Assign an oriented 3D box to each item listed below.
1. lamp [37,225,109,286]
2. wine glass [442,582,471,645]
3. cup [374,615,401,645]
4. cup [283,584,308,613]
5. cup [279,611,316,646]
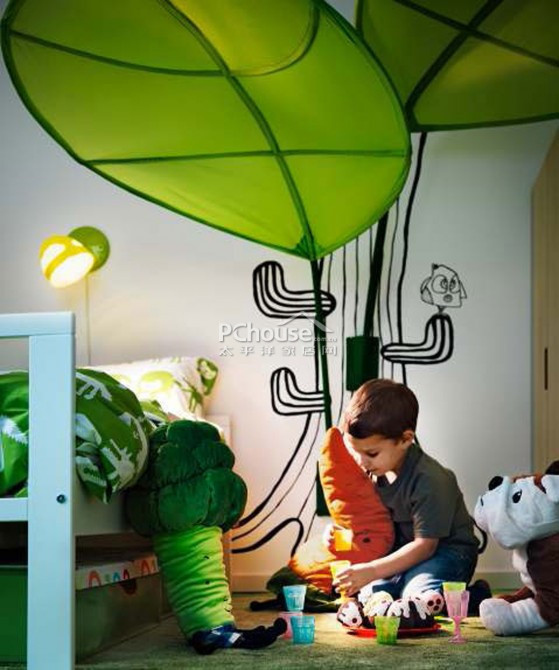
[{"bbox_3d":[-0.729,-0.294,2.338,0.212,0.237,0.204,-5,-6,1],"label":"lamp"},{"bbox_3d":[0.324,0.505,1.189,0.041,0.116,0.110,-6,-6,10],"label":"wine glass"},{"bbox_3d":[0.182,0.505,1.117,0.046,0.052,0.048,2,-20,1],"label":"cup"},{"bbox_3d":[0.024,0.498,1.251,0.060,0.064,0.066,-1,-19,0],"label":"cup"},{"bbox_3d":[0.034,0.521,1.173,0.064,0.058,0.059,0,-7,0],"label":"cup"}]
